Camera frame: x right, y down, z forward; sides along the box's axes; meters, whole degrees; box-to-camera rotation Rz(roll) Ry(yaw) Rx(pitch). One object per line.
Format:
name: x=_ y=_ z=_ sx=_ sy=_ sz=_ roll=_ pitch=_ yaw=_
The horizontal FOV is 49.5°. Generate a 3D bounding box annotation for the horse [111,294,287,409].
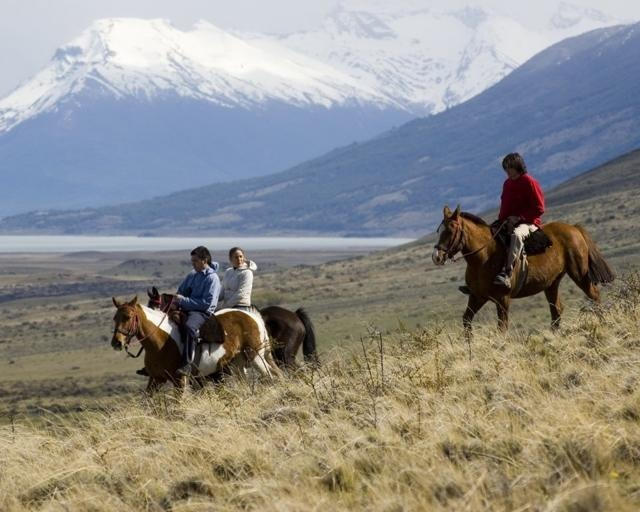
horse: x=-2.111 y=1.498 z=11.850 sx=2.993 sy=1.391 sz=0.707 roll=-15 pitch=9 yaw=-39

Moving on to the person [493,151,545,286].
person: x=3.287 y=-0.641 z=11.544 sx=0.812 sy=2.158 sz=1.434 roll=-6 pitch=6 yaw=19

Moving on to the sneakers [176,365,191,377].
sneakers: x=-2.219 y=1.893 z=11.415 sx=0.247 sy=0.202 sz=0.095 roll=3 pitch=-6 yaw=10
